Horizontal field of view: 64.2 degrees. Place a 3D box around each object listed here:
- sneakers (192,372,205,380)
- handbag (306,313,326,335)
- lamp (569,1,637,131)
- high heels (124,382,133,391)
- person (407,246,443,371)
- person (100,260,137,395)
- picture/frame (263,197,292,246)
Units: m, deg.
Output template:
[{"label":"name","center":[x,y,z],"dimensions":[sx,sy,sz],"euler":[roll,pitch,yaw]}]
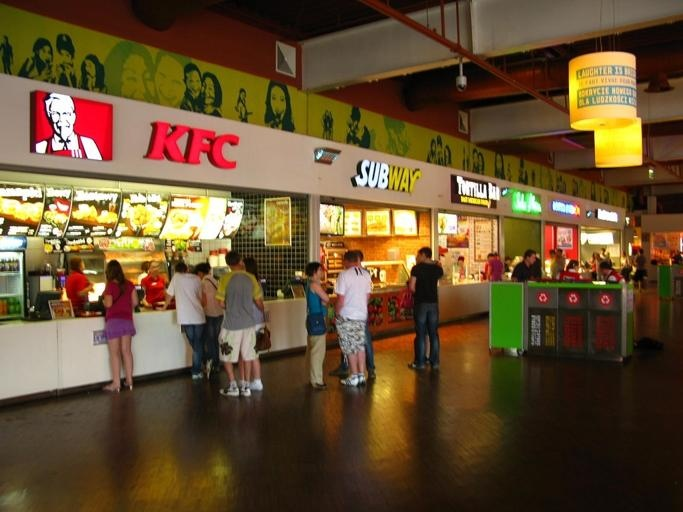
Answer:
[{"label":"sneakers","center":[-2.051,1.700,7.806],"dimensions":[0.086,0.072,0.124],"euler":[1,1,20]},{"label":"handbag","center":[-0.333,0.879,7.152],"dimensions":[0.250,0.312,0.148],"euler":[-1,5,-2]},{"label":"lamp","center":[3.154,-1.961,6.585],"dimensions":[0.683,0.884,0.720],"euler":[-3,0,-15]},{"label":"high heels","center":[-2.859,1.726,7.337],"dimensions":[0.091,0.118,0.110],"euler":[1,0,22]},{"label":"person","center":[1.297,0.774,8.396],"dimensions":[0.490,1.816,0.429],"euler":[0,1,10]},{"label":"person","center":[-2.920,0.907,7.196],"dimensions":[0.418,1.715,0.231],"euler":[-1,1,-28]},{"label":"picture/frame","center":[-1.169,-0.688,10.114],"dimensions":[0.775,1.250,0.119],"euler":[-1,-2,39]}]
